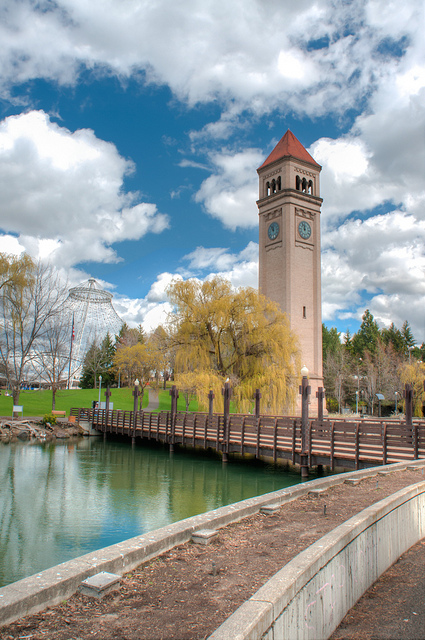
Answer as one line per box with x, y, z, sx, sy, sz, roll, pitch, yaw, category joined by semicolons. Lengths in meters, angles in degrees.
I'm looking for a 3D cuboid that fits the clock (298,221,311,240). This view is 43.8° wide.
8.229;-8.125;47.920;1.722;1.807;0.218;4;-8;-43;clock

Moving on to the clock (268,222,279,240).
5.566;-8.170;48.383;0.079;1.288;1.297;5;-48;-26;clock
